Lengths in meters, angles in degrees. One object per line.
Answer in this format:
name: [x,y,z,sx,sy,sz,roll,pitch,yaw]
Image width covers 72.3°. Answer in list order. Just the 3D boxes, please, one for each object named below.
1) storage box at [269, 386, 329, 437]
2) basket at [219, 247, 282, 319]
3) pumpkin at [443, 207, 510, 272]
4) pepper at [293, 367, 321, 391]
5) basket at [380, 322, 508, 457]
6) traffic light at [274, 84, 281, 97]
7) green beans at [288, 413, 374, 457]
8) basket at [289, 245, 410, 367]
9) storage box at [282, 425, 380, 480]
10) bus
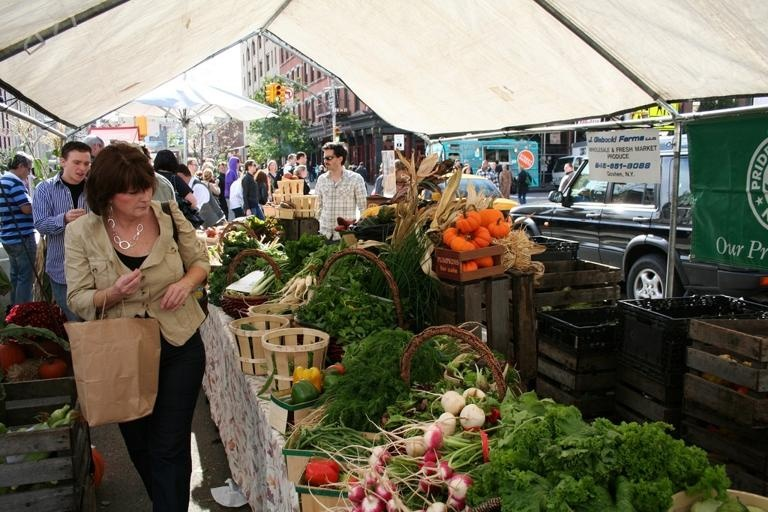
storage box: [-0.541,0.945,3.432,0.339,0.224,0.417,-4,10,-25]
basket: [-1.284,0.247,5.233,0.455,0.662,0.669,0,1,-6]
pumpkin: [0.680,-0.202,4.617,0.838,0.460,0.666,-7,11,-28]
pepper: [-0.509,0.806,3.521,0.142,0.152,0.147,0,-3,-4]
basket: [0.385,0.684,3.049,0.371,0.514,0.436,-5,1,0]
traffic light: [-5.148,-8.035,25.523,0.171,0.508,0.359,4,14,19]
green beans: [-0.325,1.012,3.074,0.435,0.135,0.494,0,6,-29]
basket: [-0.194,0.360,4.134,0.720,0.797,0.467,1,1,-11]
storage box: [-0.340,1.068,2.991,0.341,0.122,0.364,2,4,44]
bus: [4.019,-3.605,20.046,4.890,2.550,2.992,-4,7,-29]
